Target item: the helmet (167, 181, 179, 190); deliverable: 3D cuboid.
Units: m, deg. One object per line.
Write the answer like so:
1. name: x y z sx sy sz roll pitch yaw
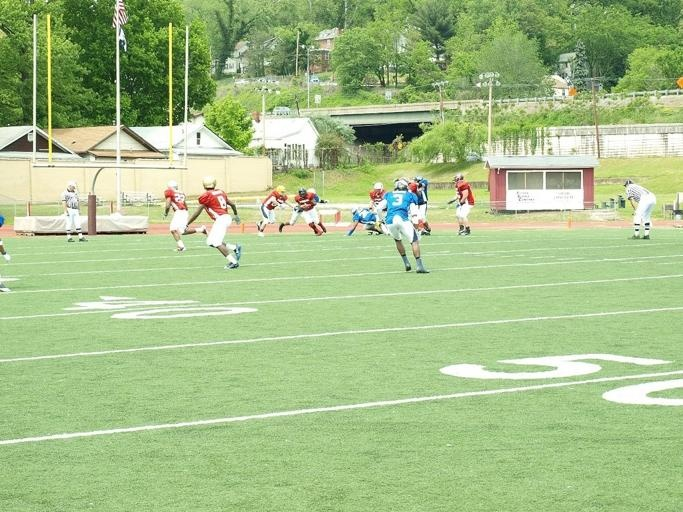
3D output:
1. helmet: -3.971 -1.673 24.918 0.252 0.238 0.286 -11 3 -41

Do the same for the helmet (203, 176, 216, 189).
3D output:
1. helmet: -2.540 -1.403 20.232 0.234 0.249 0.265 -1 9 -3

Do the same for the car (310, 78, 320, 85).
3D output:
1. car: -4.024 -26.287 159.190 1.205 0.807 1.712 -3 4 -19

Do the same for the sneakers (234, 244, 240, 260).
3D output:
1. sneakers: -2.195 -0.079 22.014 0.146 0.291 0.229 7 25 1

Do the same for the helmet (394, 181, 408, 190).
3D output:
1. helmet: 1.049 -1.277 18.901 0.152 0.177 0.175 7 -32 8

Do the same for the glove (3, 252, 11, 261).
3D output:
1. glove: -6.675 0.012 20.972 0.183 0.056 0.212 4 -19 -6

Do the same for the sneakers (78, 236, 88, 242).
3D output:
1. sneakers: -7.424 -0.488 30.175 0.089 0.092 0.262 5 8 23

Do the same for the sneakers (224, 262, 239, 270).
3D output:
1. sneakers: -2.195 0.179 20.819 0.114 0.122 0.303 -4 8 -35

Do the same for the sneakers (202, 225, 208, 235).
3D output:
1. sneakers: -3.115 -0.594 24.138 0.197 0.136 0.299 4 -11 -14
